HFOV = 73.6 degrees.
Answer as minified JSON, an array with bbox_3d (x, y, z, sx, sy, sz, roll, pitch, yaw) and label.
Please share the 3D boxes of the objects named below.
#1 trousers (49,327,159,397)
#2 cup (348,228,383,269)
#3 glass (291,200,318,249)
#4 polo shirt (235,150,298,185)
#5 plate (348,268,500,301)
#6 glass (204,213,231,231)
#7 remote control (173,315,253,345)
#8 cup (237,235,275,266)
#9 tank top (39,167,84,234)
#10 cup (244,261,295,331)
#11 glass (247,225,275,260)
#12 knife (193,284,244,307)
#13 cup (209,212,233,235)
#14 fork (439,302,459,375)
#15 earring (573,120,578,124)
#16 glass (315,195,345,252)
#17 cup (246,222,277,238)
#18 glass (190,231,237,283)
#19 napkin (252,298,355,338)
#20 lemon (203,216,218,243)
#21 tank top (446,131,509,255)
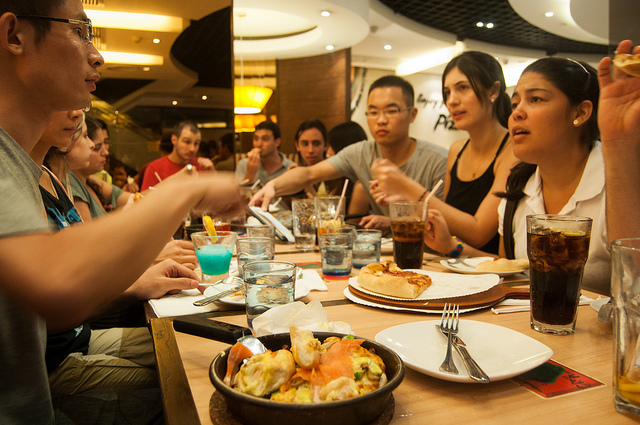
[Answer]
[{"bbox_3d":[-0.966,0.671,1.943,0.416,0.161,0.366,-4,10,-21],"label":"trousers"},{"bbox_3d":[0.242,0.185,2.029,0.171,0.181,0.174,1,-3,0],"label":"cup"},{"bbox_3d":[-0.084,0.071,2.539,0.129,0.274,0.177,-2,11,-6],"label":"glass"},{"bbox_3d":[-0.734,-0.616,5.843,0.720,0.405,0.833,-7,12,-32],"label":"polo shirt"},{"bbox_3d":[0.389,0.274,1.782,0.616,0.078,0.480,2,-3,-5],"label":"plate"},{"bbox_3d":[-0.548,0.026,2.288,0.157,0.126,0.171,-1,6,-14],"label":"glass"},{"bbox_3d":[-0.329,0.302,1.243,0.308,0.062,0.083,9,15,35],"label":"remote control"},{"bbox_3d":[-0.256,0.158,1.829,0.129,0.139,0.133,0,1,0],"label":"cup"},{"bbox_3d":[-1.179,-0.054,1.954,0.132,0.279,0.629,-7,11,-29],"label":"tank top"},{"bbox_3d":[-0.166,0.271,1.438,0.188,0.215,0.193,2,0,0],"label":"cup"},{"bbox_3d":[-0.274,0.144,2.036,0.143,0.154,0.139,-1,4,-7],"label":"glass"},{"bbox_3d":[-0.367,0.306,1.568,0.042,0.020,0.355,13,9,20],"label":"knife"},{"bbox_3d":[-0.430,0.050,1.844,0.075,0.080,0.076,3,-11,0],"label":"cup"},{"bbox_3d":[0.369,0.354,1.213,0.049,0.038,0.352,9,18,16],"label":"fork"},{"bbox_3d":[1.206,-0.427,2.016,0.019,0.018,0.008,0,11,4],"label":"earring"},{"bbox_3d":[0.083,0.088,2.492,0.215,0.358,0.234,-3,3,2],"label":"glass"},{"bbox_3d":[-0.283,0.081,2.039,0.111,0.116,0.123,1,0,-6],"label":"cup"},{"bbox_3d":[-0.457,0.198,1.877,0.211,0.226,0.206,-3,8,-12],"label":"glass"},{"bbox_3d":[-0.074,0.306,1.229,0.159,0.055,0.154,0,1,-25],"label":"napkin"},{"bbox_3d":[-0.485,0.074,1.892,0.042,0.027,0.118,-23,40,-3],"label":"lemon"},{"bbox_3d":[1.054,-0.203,3.111,0.248,0.436,0.287,-6,15,21],"label":"tank top"}]
